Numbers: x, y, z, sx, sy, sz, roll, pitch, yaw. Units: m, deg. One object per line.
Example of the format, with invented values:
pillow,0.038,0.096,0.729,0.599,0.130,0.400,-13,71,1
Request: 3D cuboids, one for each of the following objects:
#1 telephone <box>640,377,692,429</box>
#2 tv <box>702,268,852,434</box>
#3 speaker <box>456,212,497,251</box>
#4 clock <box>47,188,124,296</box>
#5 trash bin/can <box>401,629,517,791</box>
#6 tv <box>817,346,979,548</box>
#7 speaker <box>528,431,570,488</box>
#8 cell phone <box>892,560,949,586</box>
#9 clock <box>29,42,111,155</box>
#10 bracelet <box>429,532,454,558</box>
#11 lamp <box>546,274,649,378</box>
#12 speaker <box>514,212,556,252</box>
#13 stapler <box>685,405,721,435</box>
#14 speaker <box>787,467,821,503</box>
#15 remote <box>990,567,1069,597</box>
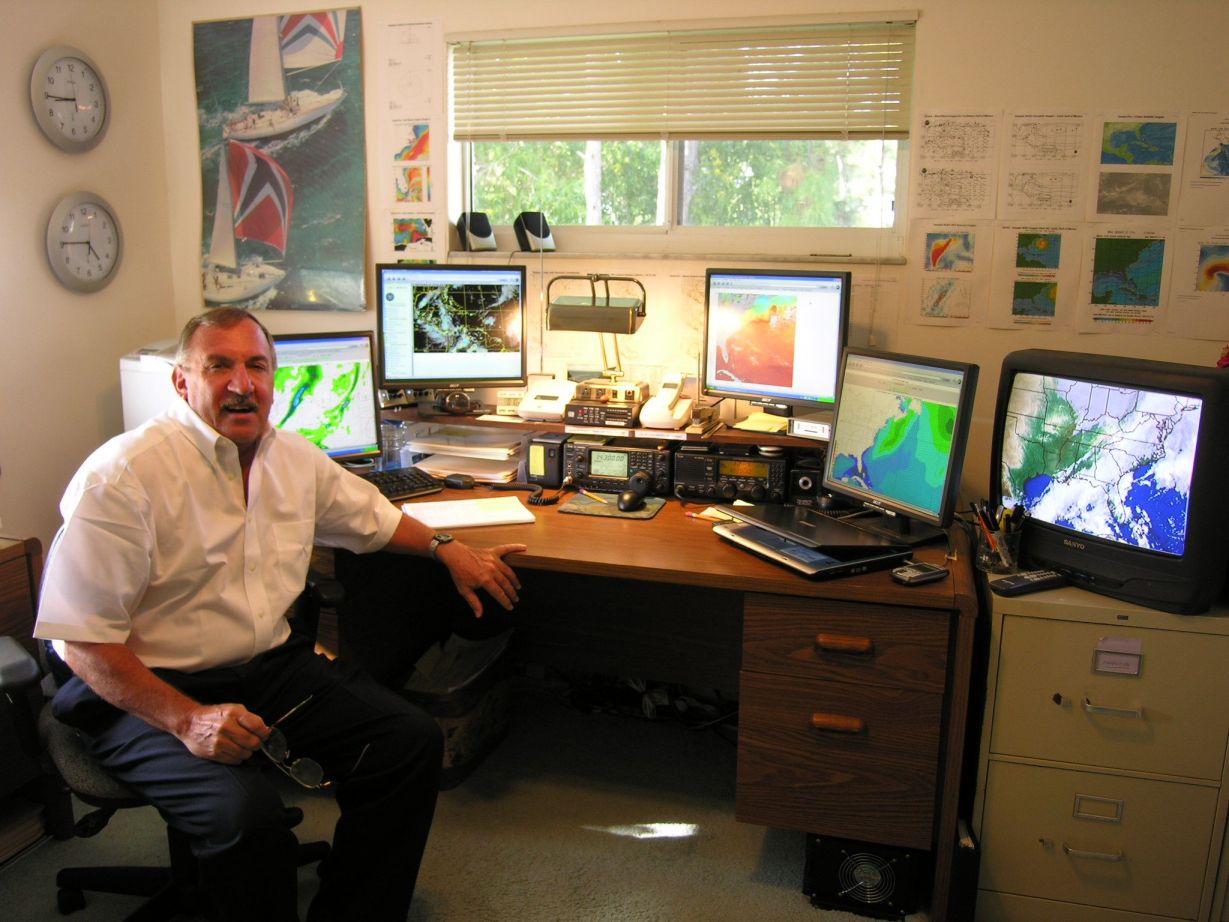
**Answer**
telephone,0.163,-0.181,2.935,0.120,0.112,0.210,7,27,18
tv,0.524,-0.364,2.899,0.533,0.490,0.217,6,13,22
speaker,-0.529,-0.855,3.383,0.136,0.165,0.093,-11,-9,-17
clock,-1.921,-0.790,3.302,0.391,0.350,0.037,3,6,20
trash bin/can,-0.480,0.779,2.910,0.286,0.343,0.483,13,10,10
tv,0.782,-0.031,2.553,0.239,0.496,0.609,9,-5,-28
speaker,-0.237,-0.003,3.013,0.154,0.199,0.166,3,13,11
cell phone,0.777,0.288,2.317,0.154,0.030,0.102,-7,14,-39
clock,-1.937,-1.276,3.203,0.047,0.337,0.287,5,12,17
bracelet,-0.474,0.226,2.493,0.059,0.064,0.035,31,30,22
lamp,-0.079,-0.484,3.176,0.382,0.345,0.393,2,11,0
speaker,-0.294,-0.835,3.308,0.131,0.171,0.097,-19,6,-12
stapler,0.293,-0.133,3.008,0.058,0.066,0.196,1,8,19
speaker,0.586,0.071,2.810,0.102,0.090,0.098,-1,1,9
remote,1.048,0.307,2.327,0.160,0.035,0.079,-7,10,-19
